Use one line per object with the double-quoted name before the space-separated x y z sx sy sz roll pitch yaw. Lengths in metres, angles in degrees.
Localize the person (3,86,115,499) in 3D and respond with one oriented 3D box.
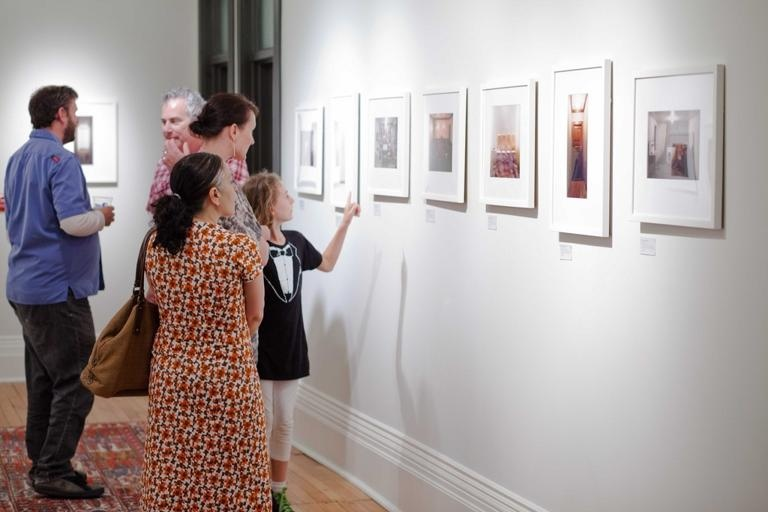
"person" -2.332 0.258 4.001 0.717 2.881 0.691 -1 10 -20
